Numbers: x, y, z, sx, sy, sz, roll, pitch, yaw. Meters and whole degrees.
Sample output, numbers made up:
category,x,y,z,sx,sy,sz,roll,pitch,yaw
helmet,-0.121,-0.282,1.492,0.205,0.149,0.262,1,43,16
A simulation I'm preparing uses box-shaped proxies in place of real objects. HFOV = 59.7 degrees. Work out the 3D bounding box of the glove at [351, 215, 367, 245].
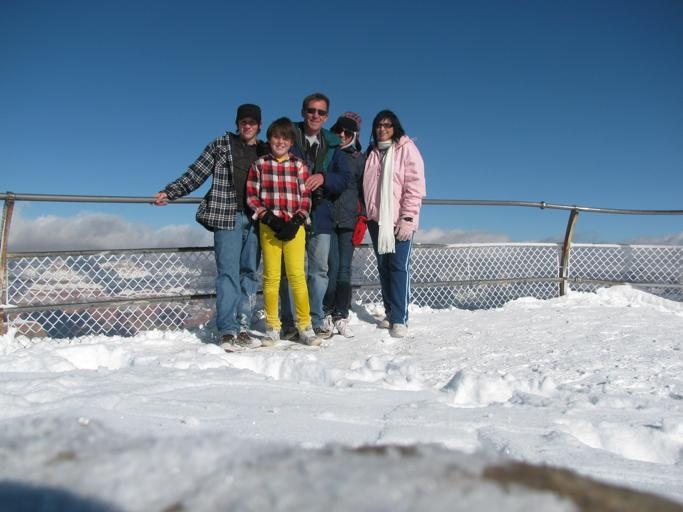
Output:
category,x,y,z,sx,sy,sz,roll,pitch,yaw
glove,0.153,-0.212,5.041,0.059,0.224,0.164,10,-4,0

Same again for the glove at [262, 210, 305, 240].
category,x,y,z,sx,sy,sz,roll,pitch,yaw
glove,-0.427,-0.261,4.374,0.225,0.106,0.229,14,10,-41

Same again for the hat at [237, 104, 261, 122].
category,x,y,z,sx,sy,sz,roll,pitch,yaw
hat,-0.691,-1.079,4.457,0.165,0.118,0.242,1,5,-13

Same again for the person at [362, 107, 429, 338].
category,x,y,z,sx,sy,sz,roll,pitch,yaw
person,0.439,-0.292,5.035,0.394,1.860,0.622,-1,4,-29

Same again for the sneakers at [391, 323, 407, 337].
category,x,y,z,sx,sy,sz,roll,pitch,yaw
sneakers,0.467,0.607,4.851,0.137,0.094,0.175,2,5,4

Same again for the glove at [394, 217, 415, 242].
category,x,y,z,sx,sy,sz,roll,pitch,yaw
glove,0.517,-0.215,4.849,0.140,0.191,0.069,2,5,-35

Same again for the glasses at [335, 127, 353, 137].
category,x,y,z,sx,sy,sz,roll,pitch,yaw
glasses,0.025,-1.057,5.076,0.099,0.104,0.034,6,34,13

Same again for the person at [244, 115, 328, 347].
category,x,y,z,sx,sy,sz,roll,pitch,yaw
person,-0.430,-0.167,4.552,0.591,1.718,0.446,0,4,-17
